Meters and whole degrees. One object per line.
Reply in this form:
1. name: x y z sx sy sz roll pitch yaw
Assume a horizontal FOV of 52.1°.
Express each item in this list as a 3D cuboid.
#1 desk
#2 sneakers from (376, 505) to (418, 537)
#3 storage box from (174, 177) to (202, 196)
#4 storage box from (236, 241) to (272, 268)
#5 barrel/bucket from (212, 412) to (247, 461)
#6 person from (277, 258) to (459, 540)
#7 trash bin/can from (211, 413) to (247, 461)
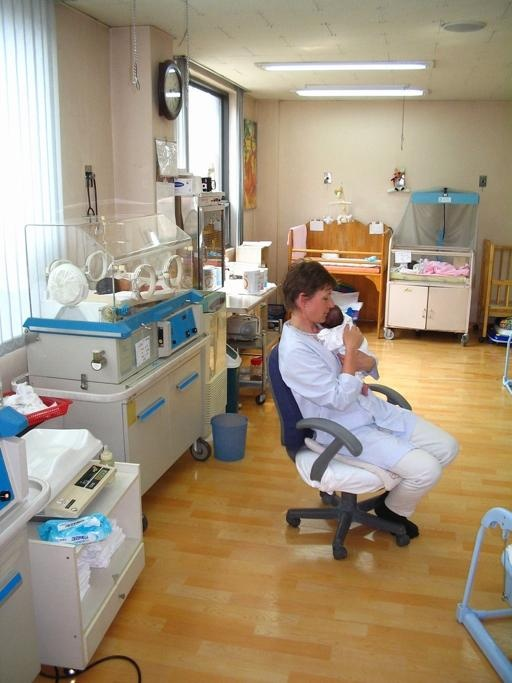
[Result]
1. desk: -0.076 0.002 3.736 0.329 0.762 0.927 1 12 5
2. sneakers: 0.611 0.792 2.333 0.179 0.060 0.103 38 43 7
3. storage box: -0.493 -1.109 3.718 0.160 0.106 0.157 2 14 5
4. storage box: -0.002 -1.009 5.945 0.466 0.287 0.475 4 11 14
5. barrel/bucket: -0.159 0.559 3.057 0.201 0.258 0.204 -1 11 0
6. person: 0.452 0.281 2.126 0.723 1.204 0.468 -1 11 2
7. trash bin/can: -0.125 0.533 3.098 0.244 0.254 0.249 3 14 16
